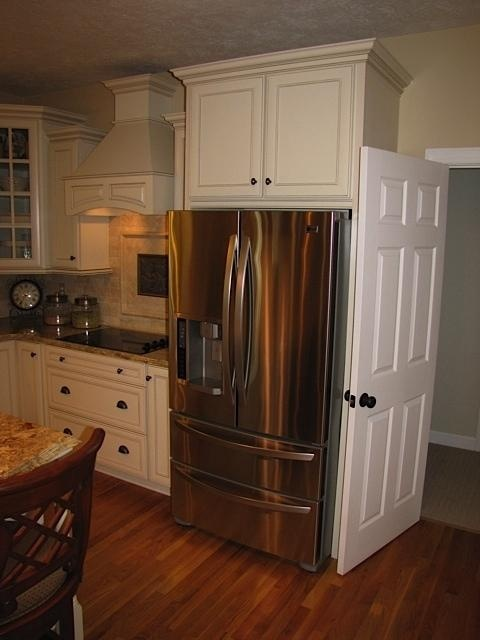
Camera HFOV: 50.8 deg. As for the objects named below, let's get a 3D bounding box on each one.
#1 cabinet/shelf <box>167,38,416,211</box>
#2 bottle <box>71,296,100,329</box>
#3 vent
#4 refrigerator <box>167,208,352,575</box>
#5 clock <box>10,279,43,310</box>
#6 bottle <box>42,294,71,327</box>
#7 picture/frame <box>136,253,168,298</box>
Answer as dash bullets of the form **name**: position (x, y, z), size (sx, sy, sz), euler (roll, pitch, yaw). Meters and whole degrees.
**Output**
- **cabinet/shelf**: position (0.174, -0.832, 2.526), size (0.906, 0.707, 0.512), euler (3, -1, 21)
- **bottle**: position (-1.113, -0.068, 3.674), size (0.213, 0.255, 0.209), euler (-5, 11, -29)
- **vent**: position (-0.661, -1.040, 3.210), size (0.821, 0.855, 0.482), euler (11, 10, 40)
- **refrigerator**: position (0.033, 0.320, 2.388), size (0.891, 1.656, 0.339), euler (5, 8, 31)
- **clock**: position (-1.699, -0.205, 3.989), size (0.213, 0.262, 0.032), euler (-5, 8, -37)
- **bottle**: position (-1.356, -0.068, 3.746), size (0.212, 0.265, 0.216), euler (7, 9, 35)
- **picture/frame**: position (-0.593, -0.314, 3.454), size (0.271, 0.280, 0.030), euler (10, 13, 34)
